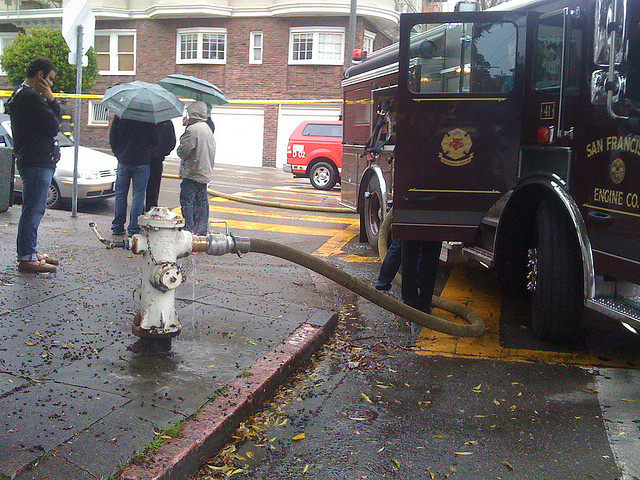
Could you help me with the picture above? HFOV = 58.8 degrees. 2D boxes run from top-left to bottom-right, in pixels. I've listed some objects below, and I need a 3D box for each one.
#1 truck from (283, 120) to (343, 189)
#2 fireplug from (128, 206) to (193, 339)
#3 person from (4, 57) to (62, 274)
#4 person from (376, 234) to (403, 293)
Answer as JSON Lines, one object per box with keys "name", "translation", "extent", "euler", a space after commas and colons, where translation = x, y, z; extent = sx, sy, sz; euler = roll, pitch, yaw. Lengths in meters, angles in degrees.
{"name": "truck", "translation": [-0.006, -3.061, 20.046], "extent": [3.054, 1.636, 1.696], "euler": [0, 5, 12]}
{"name": "fireplug", "translation": [-1.373, 0.226, 4.907], "extent": [0.563, 1.065, 0.660], "euler": [-2, 12, -22]}
{"name": "person", "translation": [-3.337, -0.866, 6.623], "extent": [0.538, 2.462, 0.613], "euler": [0, 13, -28]}
{"name": "person", "translation": [0.871, 0.304, 7.105], "extent": [0.236, 0.189, 0.739], "euler": [-6, -27, 6]}
